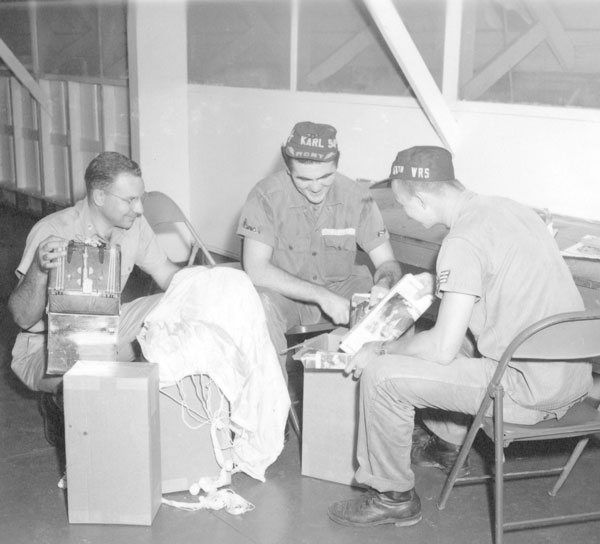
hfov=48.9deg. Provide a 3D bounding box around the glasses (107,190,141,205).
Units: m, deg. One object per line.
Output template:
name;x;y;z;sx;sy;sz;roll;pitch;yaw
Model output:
glasses;-0.695;-0.299;2.666;0.121;0.051;0.036;-6;13;-34

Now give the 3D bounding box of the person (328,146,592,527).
person;0.606;0.102;2.982;1.207;1.874;0.997;4;15;28

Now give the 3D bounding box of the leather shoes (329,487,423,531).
leather shoes;0.272;0.848;2.417;0.321;0.158;0.132;3;9;0

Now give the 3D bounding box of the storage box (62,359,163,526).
storage box;-0.655;0.588;2.310;0.320;0.548;0.190;1;11;0
